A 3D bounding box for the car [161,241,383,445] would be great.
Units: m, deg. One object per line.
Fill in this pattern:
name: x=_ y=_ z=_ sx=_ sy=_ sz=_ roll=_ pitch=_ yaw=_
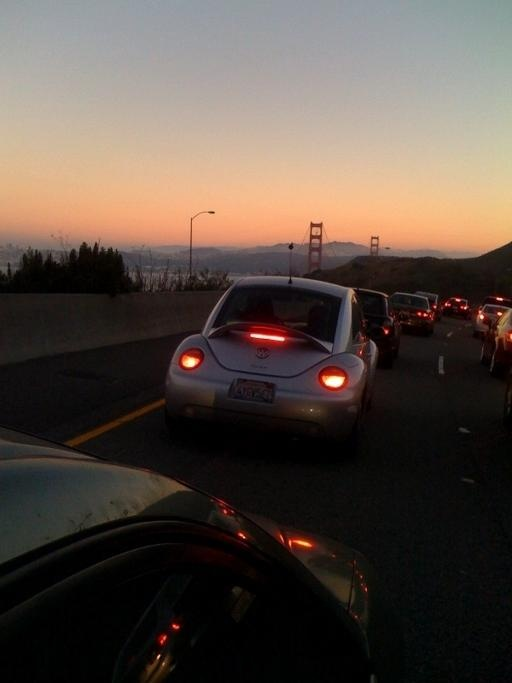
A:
car: x=0.520 y=0.017 z=7.267 sx=2.213 sy=1.730 sz=4.379 roll=7 pitch=8 yaw=13
